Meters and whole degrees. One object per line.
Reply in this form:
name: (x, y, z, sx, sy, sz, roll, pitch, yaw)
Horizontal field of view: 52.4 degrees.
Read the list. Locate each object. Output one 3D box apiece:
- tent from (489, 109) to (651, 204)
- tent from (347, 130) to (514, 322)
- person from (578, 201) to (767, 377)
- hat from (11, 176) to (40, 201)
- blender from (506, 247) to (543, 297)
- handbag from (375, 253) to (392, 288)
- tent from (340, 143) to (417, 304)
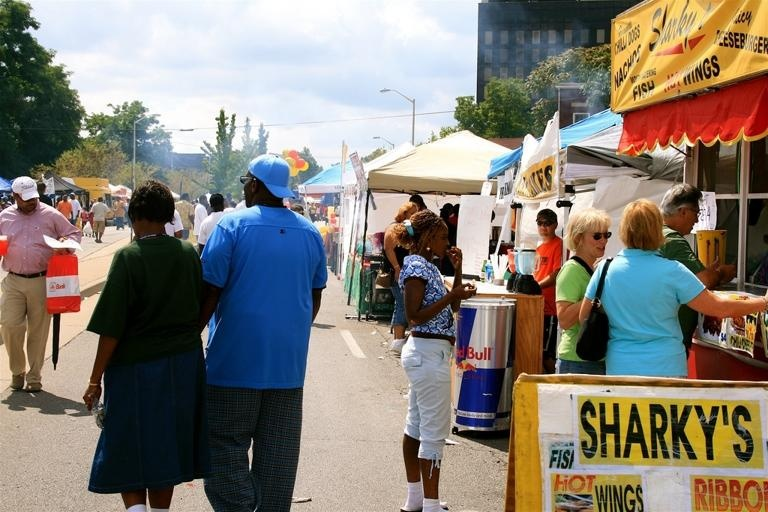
tent: (2.838, -1.493, 11.120, 2.416, 1.020, 2.579, -6, 0, 2)
tent: (0.822, -1.225, 17.355, 3.874, 3.243, 4.115, -1, 10, -6)
person: (2.450, 0.325, 6.638, 1.399, 1.996, 0.659, 6, 11, 41)
hat: (-4.328, -0.822, 9.379, 0.224, 0.195, 0.328, -10, 22, -41)
blender: (1.645, 0.178, 8.895, 0.439, 0.465, 0.438, -1, 2, -25)
handbag: (0.001, 0.274, 13.508, 0.226, 0.654, 0.568, 2, -4, -2)
tent: (0.066, -0.742, 17.170, 2.029, 2.405, 2.165, 5, -1, 11)
